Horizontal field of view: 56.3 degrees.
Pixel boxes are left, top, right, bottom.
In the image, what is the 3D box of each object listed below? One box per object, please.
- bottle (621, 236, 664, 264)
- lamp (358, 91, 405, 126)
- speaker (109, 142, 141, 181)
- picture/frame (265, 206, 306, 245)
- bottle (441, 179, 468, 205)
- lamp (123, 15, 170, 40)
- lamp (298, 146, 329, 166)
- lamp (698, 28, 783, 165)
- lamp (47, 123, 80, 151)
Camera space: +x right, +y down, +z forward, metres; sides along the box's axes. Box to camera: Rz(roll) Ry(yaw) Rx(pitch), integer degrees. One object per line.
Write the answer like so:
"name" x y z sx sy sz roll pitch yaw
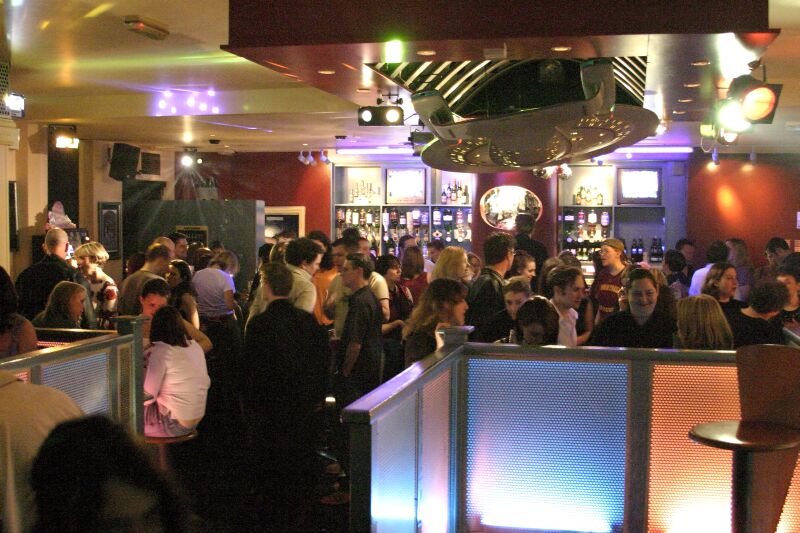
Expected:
"bottle" 3.819 -0.259 11.673 0.489 0.376 0.157 0 -5 1
"lamp" -0.205 -1.582 7.542 0.348 0.195 0.321 2 6 16
"speaker" -4.621 -1.739 12.475 0.215 0.628 0.776 4 9 7
"picture/frame" -1.908 -0.721 12.459 0.963 0.808 0.093 -1 -3 22
"bottle" 0.961 -1.288 12.983 0.483 0.421 0.218 0 -6 5
"lamp" -2.181 -2.071 6.481 0.263 0.128 0.416 8 10 32
"lamp" -1.513 -1.960 13.417 0.396 0.138 0.374 -1 1 19
"lamp" 3.035 -1.493 6.644 0.776 1.223 0.801 2 1 18
"lamp" -4.807 -1.852 10.647 0.386 0.338 0.364 -2 10 -28
